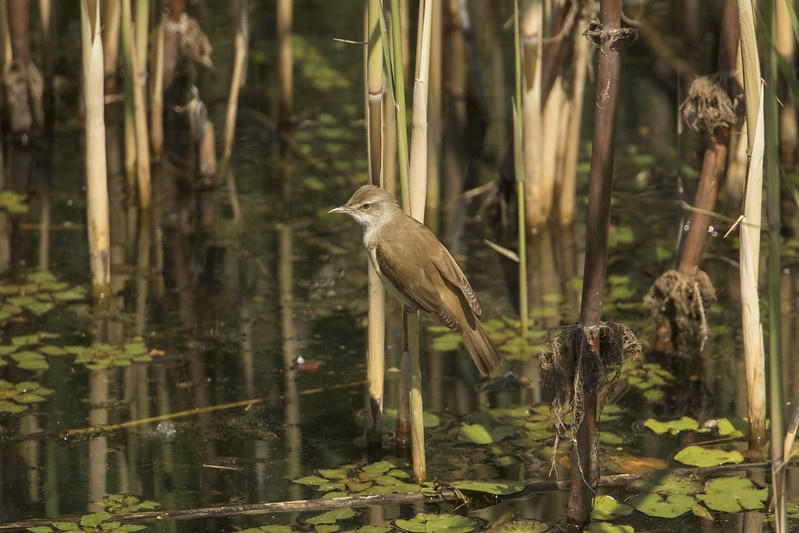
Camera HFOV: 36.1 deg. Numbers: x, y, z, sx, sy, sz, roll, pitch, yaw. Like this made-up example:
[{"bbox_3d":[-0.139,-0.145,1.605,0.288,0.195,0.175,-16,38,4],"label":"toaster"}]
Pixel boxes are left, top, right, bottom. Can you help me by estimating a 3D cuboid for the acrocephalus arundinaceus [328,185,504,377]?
[{"bbox_3d":[0.138,0.088,8.406,0.926,1.184,0.407,-7,-2,2],"label":"acrocephalus arundinaceus"}]
